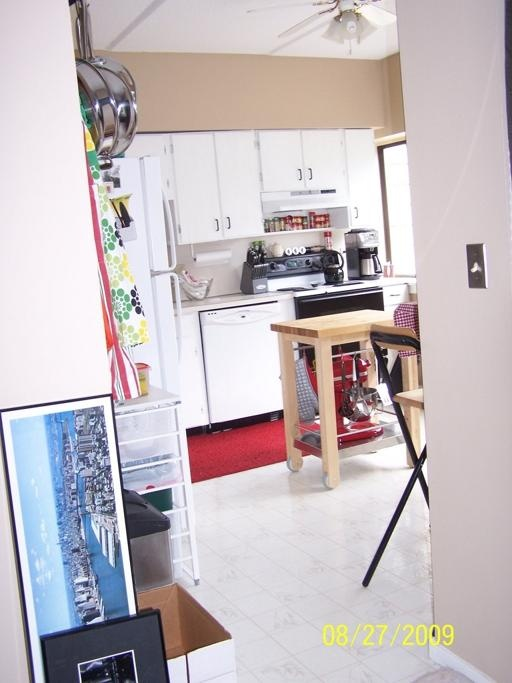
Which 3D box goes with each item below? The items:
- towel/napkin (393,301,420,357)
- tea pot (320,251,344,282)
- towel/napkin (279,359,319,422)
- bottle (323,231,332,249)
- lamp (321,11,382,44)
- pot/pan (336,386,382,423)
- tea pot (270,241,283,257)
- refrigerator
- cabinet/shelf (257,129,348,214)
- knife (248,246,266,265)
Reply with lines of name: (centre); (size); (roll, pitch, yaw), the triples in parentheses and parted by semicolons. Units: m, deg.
towel/napkin: (0.680, -0.070, 2.626); (0.080, 0.210, 0.215); (-4, 8, -27)
tea pot: (0.690, -0.697, 5.194); (0.250, 0.343, 0.211); (-2, 16, -5)
towel/napkin: (0.260, 0.315, 3.471); (0.115, 0.437, 0.169); (-6, -1, -28)
bottle: (0.693, -0.981, 5.452); (0.089, 0.178, 0.211); (-5, 6, 8)
lamp: (0.497, -1.646, 2.952); (0.223, 0.123, 0.261); (-4, -4, 0)
pot/pan: (0.608, 0.358, 3.313); (0.189, 0.168, 0.240); (1, 2, 40)
tea pot: (0.186, -0.834, 5.152); (0.127, 0.129, 0.097); (-1, 10, 1)
refrigerator: (-0.500, -0.288, 2.604); (0.251, 1.105, 0.124); (-11, 7, -41)
cabinet/shelf: (0.382, -1.521, 4.919); (0.744, 0.621, 0.284); (-8, 12, -27)
knife: (-0.011, -0.778, 4.962); (0.167, 0.180, 0.133); (-20, 35, -35)
